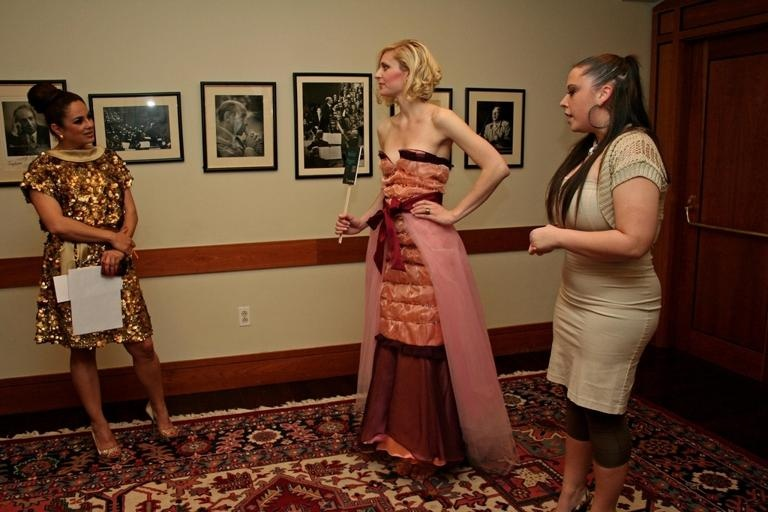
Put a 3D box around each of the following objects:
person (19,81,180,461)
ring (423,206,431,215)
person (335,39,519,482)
[{"bbox_3d":[-1.956,0.116,3.539,0.765,2.462,0.439,-8,15,-25],"label":"person"},{"bbox_3d":[0.266,-0.281,3.278,0.044,0.032,0.042,-3,-5,0],"label":"ring"},{"bbox_3d":[0.272,0.037,3.349,1.103,2.719,0.690,2,14,14],"label":"person"}]
